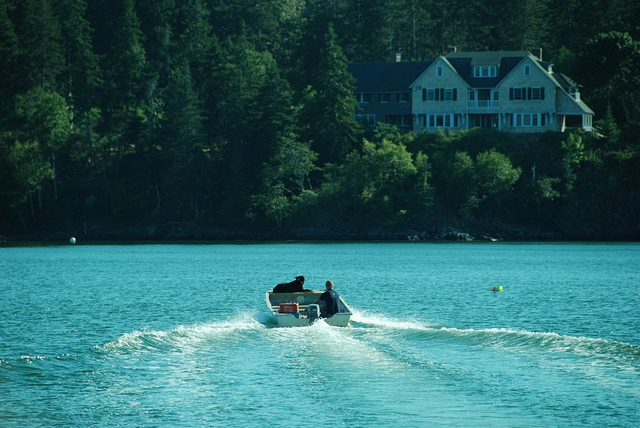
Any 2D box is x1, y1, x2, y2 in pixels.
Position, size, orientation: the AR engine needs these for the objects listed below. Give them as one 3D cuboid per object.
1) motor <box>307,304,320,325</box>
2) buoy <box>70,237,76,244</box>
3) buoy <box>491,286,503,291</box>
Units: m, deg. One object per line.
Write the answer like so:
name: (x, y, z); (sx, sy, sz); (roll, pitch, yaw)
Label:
motor: (-0.549, 9.067, 99.987); (1.098, 1.661, 0.583); (-2, 13, -2)
buoy: (-36.578, 4.025, 163.623); (1.064, 1.123, 0.840); (-2, 2, 17)
buoy: (18.601, 7.910, 116.045); (1.154, 0.460, 1.181); (2, 13, 12)
